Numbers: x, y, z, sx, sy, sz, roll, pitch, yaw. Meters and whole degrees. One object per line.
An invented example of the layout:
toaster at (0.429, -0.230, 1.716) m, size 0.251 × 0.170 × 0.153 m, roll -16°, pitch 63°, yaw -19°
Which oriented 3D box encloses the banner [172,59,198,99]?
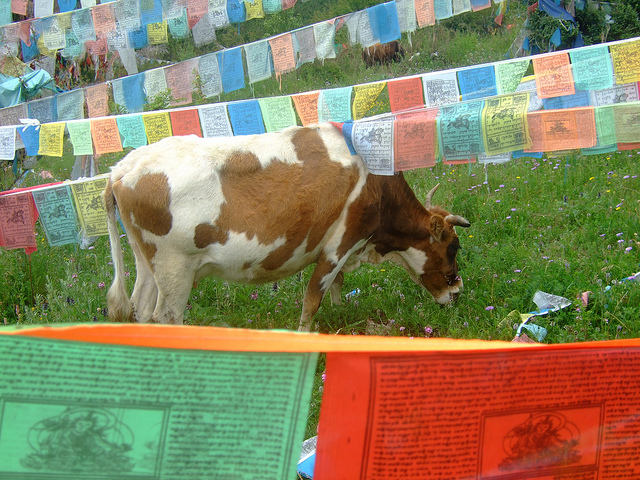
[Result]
banner at (-1.825, -2.227, 7.382) m, size 0.473 × 0.469 × 0.169 m, roll -7°, pitch 21°, yaw 23°

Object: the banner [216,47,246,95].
banner at (-1.209, -2.298, 7.213) m, size 0.384 × 0.503 × 0.151 m, roll -12°, pitch 20°, yaw 9°

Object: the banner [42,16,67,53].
banner at (-3.998, -3.077, 8.023) m, size 0.423 × 0.461 × 0.096 m, roll -9°, pitch 20°, yaw 18°

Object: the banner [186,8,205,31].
banner at (-1.977, -3.520, 8.485) m, size 0.284 × 0.235 × 0.241 m, roll -22°, pitch 22°, yaw -12°

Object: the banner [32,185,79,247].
banner at (-2.235, -0.225, 4.576) m, size 0.273 × 0.544 × 0.051 m, roll -16°, pitch 39°, yaw -25°

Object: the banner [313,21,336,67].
banner at (0.060, -2.764, 7.390) m, size 0.342 × 0.468 × 0.166 m, roll -14°, pitch 20°, yaw 2°

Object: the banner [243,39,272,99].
banner at (-0.873, -2.589, 7.299) m, size 0.372 × 0.908 × 0.039 m, roll -9°, pitch -16°, yaw 6°

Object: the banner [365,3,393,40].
banner at (0.806, -3.048, 7.443) m, size 0.304 × 0.416 × 0.109 m, roll -15°, pitch 20°, yaw 0°

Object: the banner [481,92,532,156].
banner at (1.354, -0.860, 3.931) m, size 0.347 × 0.366 × 0.256 m, roll -9°, pitch 22°, yaw 17°

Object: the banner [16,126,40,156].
banner at (-3.049, -1.060, 5.611) m, size 0.248 × 0.384 × 0.040 m, roll -1°, pitch 11°, yaw 3°

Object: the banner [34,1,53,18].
banner at (-4.333, -3.640, 8.382) m, size 0.258 × 0.298 × 0.068 m, roll 0°, pitch 6°, yaw 6°

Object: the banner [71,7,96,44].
banner at (-3.445, -3.137, 7.818) m, size 0.373 × 0.456 × 0.097 m, roll -4°, pitch 13°, yaw 17°

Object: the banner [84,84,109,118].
banner at (-3.087, -1.955, 7.536) m, size 0.369 × 0.576 × 0.141 m, roll 0°, pitch 15°, yaw 13°

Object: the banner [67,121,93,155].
banner at (-2.450, -1.052, 5.489) m, size 0.268 × 0.348 × 0.167 m, roll -2°, pitch 24°, yaw 31°

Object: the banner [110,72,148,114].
banner at (-2.612, -2.035, 7.442) m, size 0.508 × 0.508 × 0.306 m, roll -21°, pitch 22°, yaw -13°

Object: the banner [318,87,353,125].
banner at (0.136, -1.394, 5.505) m, size 0.435 × 0.542 × 0.132 m, roll 2°, pitch 12°, yaw 11°

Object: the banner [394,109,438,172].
banner at (0.697, -0.732, 4.031) m, size 0.321 × 0.352 × 0.172 m, roll -6°, pitch 22°, yaw 25°

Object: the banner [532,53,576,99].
banner at (1.905, -1.341, 4.393) m, size 0.290 × 0.307 × 0.314 m, roll -6°, pitch 24°, yaw 24°

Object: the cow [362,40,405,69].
cow at (1.512, -4.541, 13.027) m, size 1.012 × 0.460 × 0.880 m, roll -12°, pitch 23°, yaw 15°

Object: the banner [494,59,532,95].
banner at (1.786, -1.540, 5.028) m, size 0.292 × 0.283 × 0.272 m, roll -9°, pitch 22°, yaw 17°

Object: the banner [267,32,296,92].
banner at (-0.526, -2.603, 7.176) m, size 0.323 × 0.723 × 0.063 m, roll -13°, pitch 58°, yaw -8°

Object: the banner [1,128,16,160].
banner at (-3.233, -1.015, 5.552) m, size 0.251 × 0.311 × 0.031 m, roll 1°, pitch -1°, yaw 20°

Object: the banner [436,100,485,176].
banner at (1.058, -0.817, 4.023) m, size 0.344 × 0.370 × 0.242 m, roll -6°, pitch 22°, yaw 24°

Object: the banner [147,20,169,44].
banner at (-2.515, -3.220, 8.238) m, size 0.306 × 0.491 × 0.060 m, roll 0°, pitch 12°, yaw -2°

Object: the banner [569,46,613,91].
banner at (2.178, -1.387, 4.303) m, size 0.320 × 0.426 × 0.017 m, roll -7°, pitch -1°, yaw 12°
